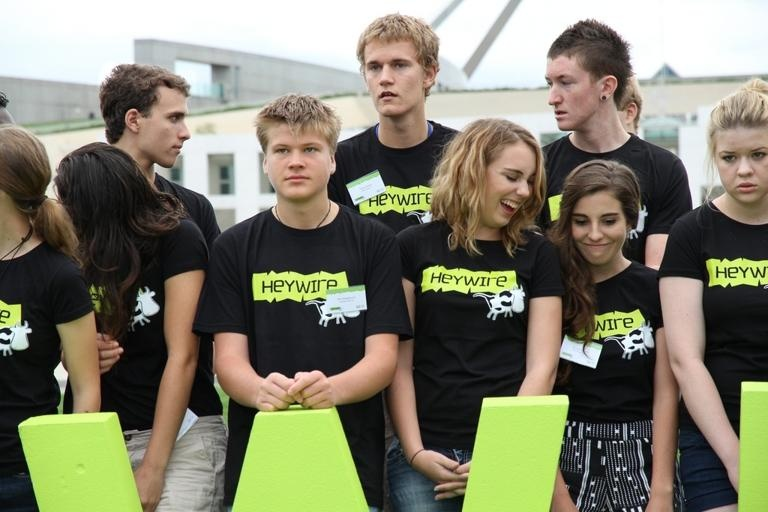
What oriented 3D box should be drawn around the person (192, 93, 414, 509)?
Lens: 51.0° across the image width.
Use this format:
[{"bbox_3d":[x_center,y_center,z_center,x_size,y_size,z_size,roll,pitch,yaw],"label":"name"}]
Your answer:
[{"bbox_3d":[-0.401,0.229,4.131,0.831,2.104,0.874,6,11,43],"label":"person"}]
